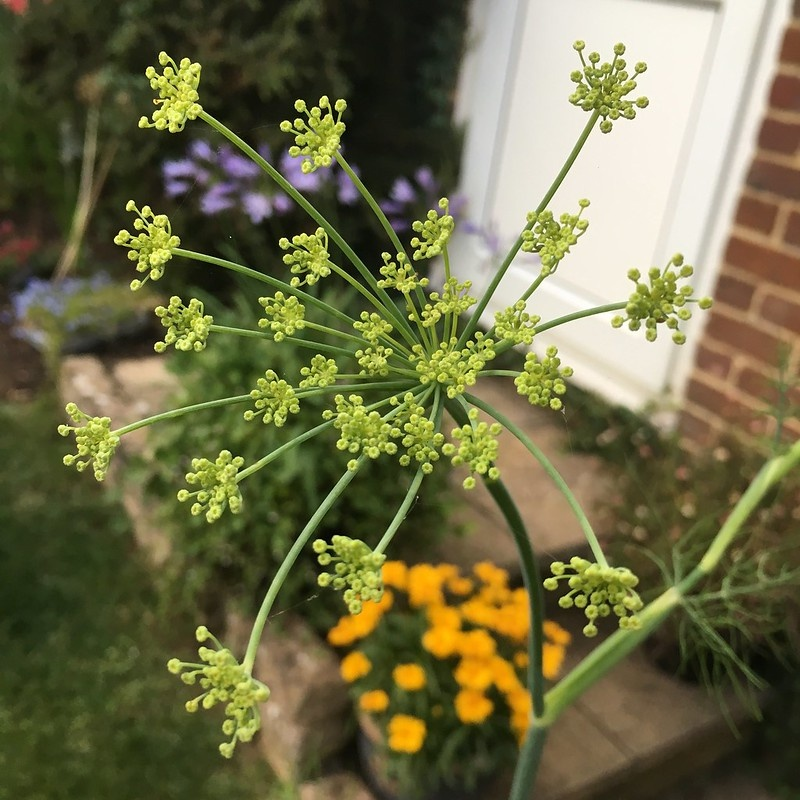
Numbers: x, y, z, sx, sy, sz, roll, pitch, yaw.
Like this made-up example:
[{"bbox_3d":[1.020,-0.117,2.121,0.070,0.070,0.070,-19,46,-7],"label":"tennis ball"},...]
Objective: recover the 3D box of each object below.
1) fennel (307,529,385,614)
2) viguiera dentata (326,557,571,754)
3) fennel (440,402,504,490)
[{"bbox_3d":[-0.036,0.125,0.512,0.051,0.082,0.047,-2,32,-8],"label":"fennel"},{"bbox_3d":[0.043,0.240,0.724,0.203,0.178,0.125,31,34,29],"label":"viguiera dentata"},{"bbox_3d":[0.045,0.036,0.512,0.040,0.062,0.035,-3,25,-11],"label":"fennel"}]
